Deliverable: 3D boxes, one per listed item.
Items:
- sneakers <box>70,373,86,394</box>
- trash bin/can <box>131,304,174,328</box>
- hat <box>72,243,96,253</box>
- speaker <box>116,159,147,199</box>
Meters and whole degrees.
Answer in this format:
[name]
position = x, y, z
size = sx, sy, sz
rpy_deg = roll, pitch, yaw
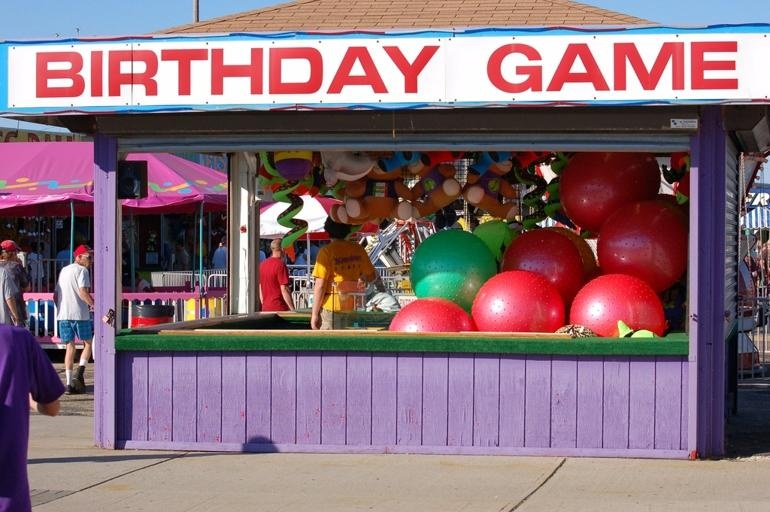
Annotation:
[sneakers]
position = -4.254, 1.782, 17.842
size = 0.136, 0.145, 0.331
rpy_deg = 6, -27, 1
[trash bin/can]
position = -2.907, 0.740, 16.243
size = 0.418, 0.246, 0.415
rpy_deg = 0, 2, 7
[hat]
position = -5.017, -0.134, 21.411
size = 0.287, 0.104, 0.196
rpy_deg = -17, 1, 18
[speaker]
position = -2.800, -0.861, 14.279
size = 0.313, 0.422, 0.309
rpy_deg = -2, 11, -6
